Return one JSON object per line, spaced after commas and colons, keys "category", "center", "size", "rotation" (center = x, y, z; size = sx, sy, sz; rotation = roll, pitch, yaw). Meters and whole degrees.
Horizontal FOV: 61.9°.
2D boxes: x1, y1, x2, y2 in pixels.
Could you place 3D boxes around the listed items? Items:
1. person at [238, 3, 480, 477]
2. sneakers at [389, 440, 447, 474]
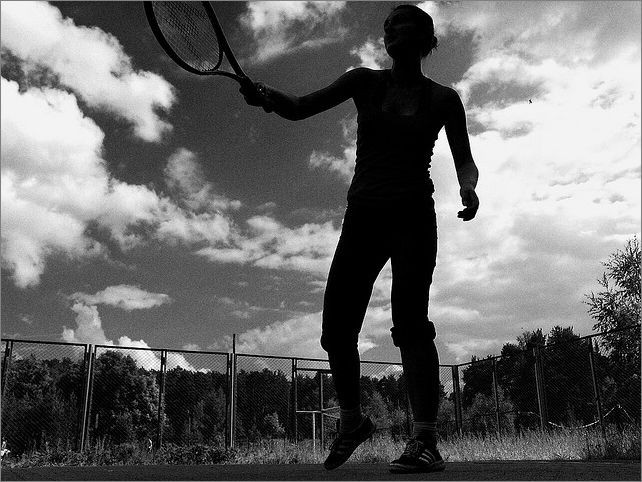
{"category": "person", "center": [0.403, -0.204, 3.298], "size": [1.187, 3.095, 0.936], "rotation": [-10, -21, 19]}
{"category": "sneakers", "center": [0.563, 1.293, 3.107], "size": [0.405, 0.208, 0.147], "rotation": [19, -32, -31]}
